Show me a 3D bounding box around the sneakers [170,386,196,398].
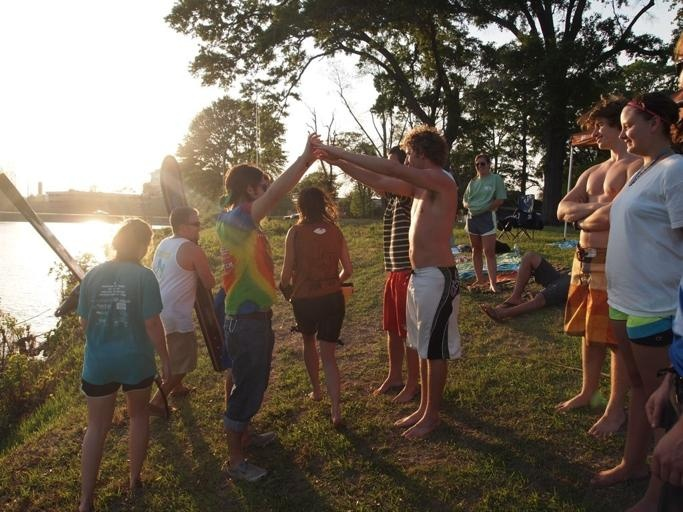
[{"bbox_3d":[-2.037,1.741,7.019,0.279,0.142,0.100,-9,16,-27],"label":"sneakers"}]

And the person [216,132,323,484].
[{"bbox_3d":[-0.816,0.581,5.317,1.004,3.119,0.763,0,6,30],"label":"person"}]

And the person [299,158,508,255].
[{"bbox_3d":[0.555,-0.479,5.660,1.258,1.147,0.895,1,-4,2],"label":"person"}]

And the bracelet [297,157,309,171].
[{"bbox_3d":[-0.353,-0.875,5.211,0.079,0.070,0.086,1,-13,-11],"label":"bracelet"}]

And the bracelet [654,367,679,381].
[{"bbox_3d":[2.186,0.785,3.703,0.100,0.058,0.150,1,-12,15],"label":"bracelet"}]

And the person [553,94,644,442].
[{"bbox_3d":[2.619,0.080,5.469,0.559,3.217,0.845,-3,9,-6],"label":"person"}]

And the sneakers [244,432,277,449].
[{"bbox_3d":[-0.876,1.927,5.807,0.286,0.145,0.135,-6,5,-5],"label":"sneakers"}]

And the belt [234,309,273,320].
[{"bbox_3d":[-0.830,0.568,5.225,0.352,0.113,0.122,-6,6,-19],"label":"belt"}]

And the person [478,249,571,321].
[{"bbox_3d":[2.840,0.450,8.136,1.860,0.690,0.683,-16,32,-30],"label":"person"}]

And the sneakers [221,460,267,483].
[{"bbox_3d":[-0.913,2.081,5.351,0.329,0.171,0.183,1,4,8],"label":"sneakers"}]

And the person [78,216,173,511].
[{"bbox_3d":[-2.103,0.974,5.202,0.882,2.609,0.428,-5,5,-24],"label":"person"}]
